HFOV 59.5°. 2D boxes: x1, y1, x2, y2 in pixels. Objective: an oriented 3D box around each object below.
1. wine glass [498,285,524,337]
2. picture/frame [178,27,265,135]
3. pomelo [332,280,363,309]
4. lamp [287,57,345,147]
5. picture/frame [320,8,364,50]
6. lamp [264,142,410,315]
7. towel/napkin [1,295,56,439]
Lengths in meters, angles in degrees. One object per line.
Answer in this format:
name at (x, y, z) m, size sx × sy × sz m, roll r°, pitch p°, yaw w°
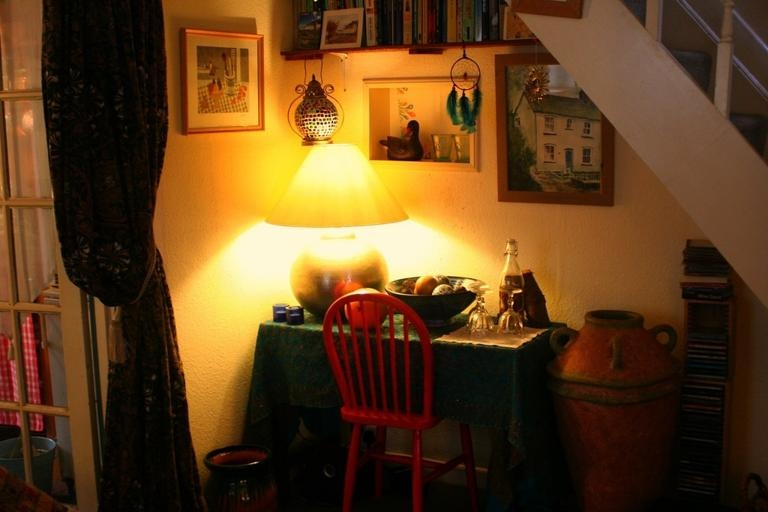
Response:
wine glass at (0.666, 0.279, 3.530) m, size 0.129 × 0.228 × 0.182 m, roll 0°, pitch 5°, yaw 12°
picture/frame at (-0.880, -0.957, 3.699) m, size 0.032 × 0.521 × 0.607 m, roll 10°, pitch 16°, yaw 28°
pomelo at (-0.199, 0.207, 3.685) m, size 0.105 × 0.103 × 0.111 m, roll -11°, pitch 0°, yaw 17°
lamp at (-0.416, -0.951, 4.109) m, size 0.350 × 0.542 × 0.307 m, roll -2°, pitch 5°, yaw -7°
picture/frame at (-0.239, -1.367, 4.047) m, size 0.251 × 0.225 × 0.020 m, roll 6°, pitch 6°, yaw 26°
lamp at (-0.246, -0.233, 4.297) m, size 0.889 × 1.107 × 0.943 m, roll -3°, pitch 5°, yaw -18°
towel/napkin at (-1.722, 0.568, 3.216) m, size 0.256 × 0.589 × 0.042 m, roll -1°, pitch 5°, yaw 0°
